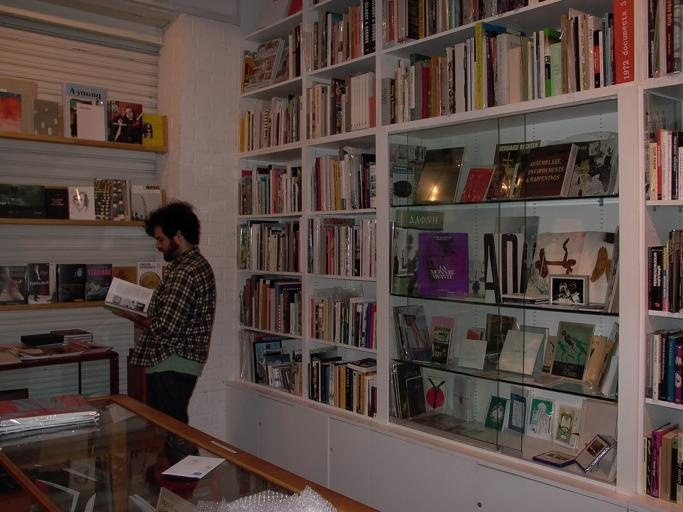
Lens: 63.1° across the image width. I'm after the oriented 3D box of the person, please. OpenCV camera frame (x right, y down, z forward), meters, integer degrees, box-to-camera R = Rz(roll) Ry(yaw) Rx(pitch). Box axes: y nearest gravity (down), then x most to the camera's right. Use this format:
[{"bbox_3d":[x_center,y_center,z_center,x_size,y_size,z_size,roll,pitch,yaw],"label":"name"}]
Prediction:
[{"bbox_3d":[-1.240,0.518,4.064,0.585,1.821,1.016,-7,13,-22],"label":"person"}]
